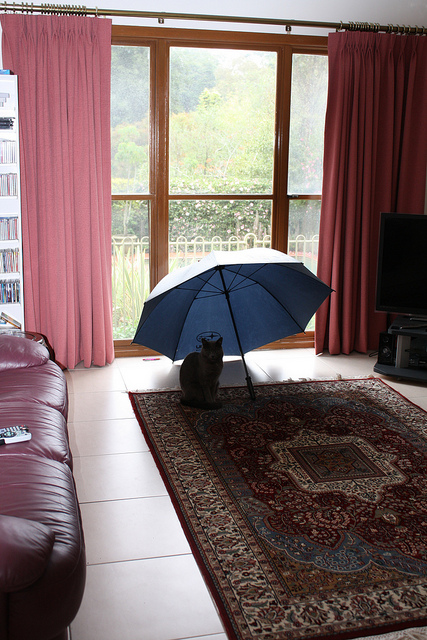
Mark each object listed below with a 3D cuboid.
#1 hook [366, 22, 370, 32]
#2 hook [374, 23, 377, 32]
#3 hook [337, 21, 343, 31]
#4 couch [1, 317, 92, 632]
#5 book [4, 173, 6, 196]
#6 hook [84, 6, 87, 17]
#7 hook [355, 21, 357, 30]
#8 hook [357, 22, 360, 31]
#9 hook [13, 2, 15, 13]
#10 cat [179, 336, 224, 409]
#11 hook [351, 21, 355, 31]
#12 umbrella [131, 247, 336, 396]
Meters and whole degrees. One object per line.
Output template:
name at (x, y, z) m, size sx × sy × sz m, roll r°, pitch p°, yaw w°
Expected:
hook at (1.216, -2.318, 3.737) m, size 0.010 × 0.044 × 0.041 m, roll -3°, pitch 0°, yaw -3°
hook at (1.286, -2.318, 3.735) m, size 0.019 × 0.070 × 0.048 m, roll 1°, pitch 7°, yaw 14°
hook at (1.003, -2.309, 3.718) m, size 0.021 × 0.061 × 0.047 m, roll 12°, pitch 43°, yaw -16°
couch at (-0.553, 0.451, 1.554) m, size 0.194 × 0.237 × 0.769 m, roll -8°, pitch 35°, yaw -17°
book at (-1.423, -0.922, 3.214) m, size 0.015 × 0.148 × 0.027 m, roll -3°, pitch 7°, yaw -17°
hook at (-0.898, -2.166, 3.310) m, size 0.017 × 0.068 × 0.071 m, roll -2°, pitch 7°, yaw -12°
hook at (1.122, -2.319, 3.713) m, size 0.017 × 0.061 × 0.057 m, roll 1°, pitch 7°, yaw 13°
hook at (1.142, -2.307, 3.710) m, size 0.014 × 0.060 × 0.031 m, roll 1°, pitch 7°, yaw 12°
hook at (-1.354, -2.110, 3.191) m, size 0.011 × 0.058 × 0.040 m, roll -4°, pitch 8°, yaw -23°
cat at (-0.066, 0.315, 2.893) m, size 0.192 × 0.443 × 0.343 m, roll -5°, pitch 8°, yaw -32°
hook at (1.099, -2.298, 3.700) m, size 0.015 × 0.050 × 0.034 m, roll 1°, pitch 7°, yaw 16°
umbrella at (0.111, 0.024, 3.053) m, size 1.135 × 0.953 × 0.840 m, roll -4°, pitch 8°, yaw -24°
